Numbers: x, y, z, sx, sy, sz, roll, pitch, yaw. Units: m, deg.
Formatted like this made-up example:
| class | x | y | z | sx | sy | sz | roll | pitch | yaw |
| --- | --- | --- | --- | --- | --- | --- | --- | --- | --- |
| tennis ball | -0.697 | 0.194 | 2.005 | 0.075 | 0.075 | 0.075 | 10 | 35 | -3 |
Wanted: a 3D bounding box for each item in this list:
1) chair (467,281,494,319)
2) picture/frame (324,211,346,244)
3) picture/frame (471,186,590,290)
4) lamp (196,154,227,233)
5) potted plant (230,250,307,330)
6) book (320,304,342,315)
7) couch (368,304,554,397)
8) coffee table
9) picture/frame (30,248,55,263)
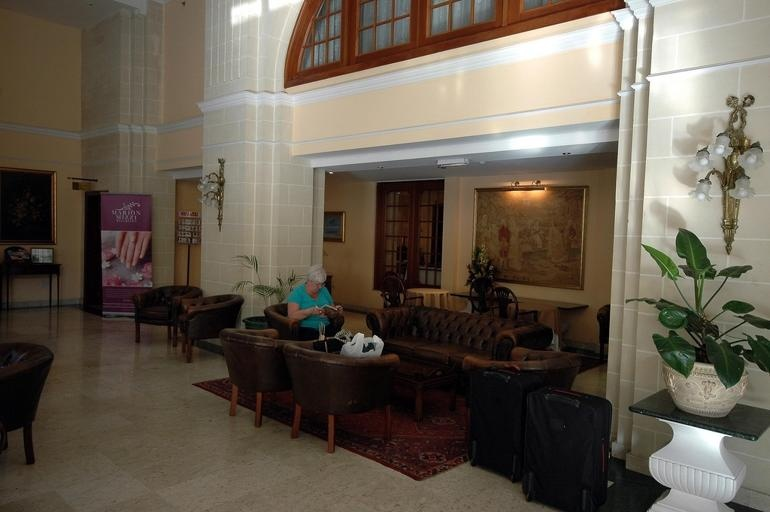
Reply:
| class | x | y | z | sx | sy | sz | roll | pitch | yaw |
| --- | --- | --- | --- | --- | --- | --- | --- | --- | --- |
| chair | 1.858 | 0.768 | 9.766 | 0.484 | 0.831 | 0.533 | 1 | 15 | 22 |
| picture/frame | -1.328 | -0.771 | 13.633 | 0.858 | 0.842 | 0.086 | 2 | 3 | 43 |
| picture/frame | 3.043 | -0.329 | 10.326 | 2.030 | 1.672 | 0.139 | 6 | 11 | 36 |
| lamp | -3.046 | -1.080 | 8.963 | 0.400 | 1.099 | 0.483 | 8 | 7 | -7 |
| potted plant | -1.964 | 0.543 | 8.697 | 0.906 | 0.942 | 1.053 | -12 | 13 | -44 |
| book | -0.716 | 0.733 | 6.846 | 0.263 | 0.147 | 0.178 | 0 | 7 | -15 |
| couch | 0.964 | 1.375 | 7.233 | 2.559 | 1.093 | 1.022 | 3 | 1 | 44 |
| coffee table | 0.473 | 1.403 | 6.401 | 0.731 | 0.600 | 0.952 | -3 | 5 | -30 |
| picture/frame | -7.961 | -0.008 | 11.745 | 0.346 | 0.312 | 0.122 | 1 | 1 | -22 |
